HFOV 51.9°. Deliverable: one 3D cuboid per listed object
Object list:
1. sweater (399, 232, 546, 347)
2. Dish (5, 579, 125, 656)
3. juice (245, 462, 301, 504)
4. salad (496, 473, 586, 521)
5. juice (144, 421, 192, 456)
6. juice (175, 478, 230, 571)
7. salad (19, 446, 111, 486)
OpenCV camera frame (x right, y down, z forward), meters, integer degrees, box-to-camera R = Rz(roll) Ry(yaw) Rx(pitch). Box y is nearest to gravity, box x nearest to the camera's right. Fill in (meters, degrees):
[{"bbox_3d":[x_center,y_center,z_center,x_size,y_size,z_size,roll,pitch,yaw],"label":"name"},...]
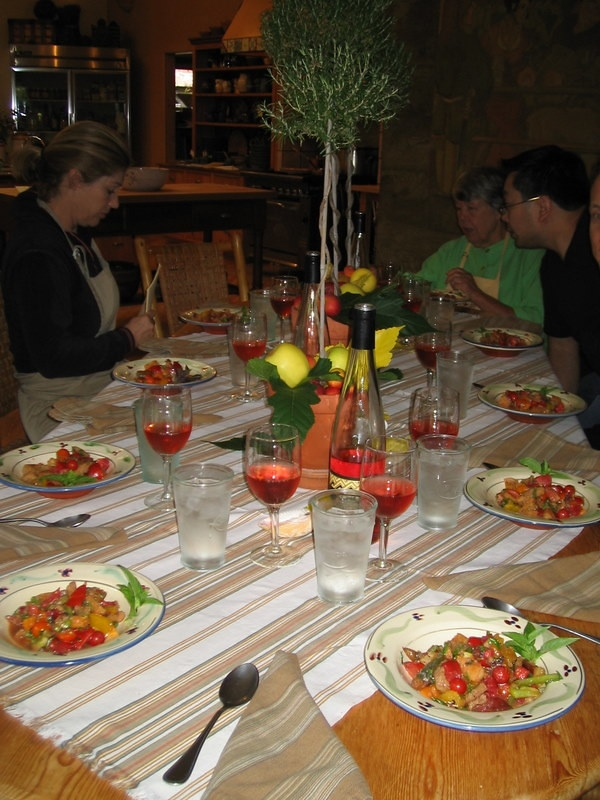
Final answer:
[{"bbox_3d":[0.947,-0.641,3.258,0.707,0.468,0.363,6,2,8],"label":"sweater"},{"bbox_3d":[-0.248,0.229,0.650,0.113,0.017,0.131,-7,15,-38],"label":"Dish"},{"bbox_3d":[-0.044,0.105,0.816,0.066,0.042,0.062,0,2,-1],"label":"juice"},{"bbox_3d":[0.391,0.164,1.004,0.093,0.031,0.085,-7,16,-8],"label":"salad"},{"bbox_3d":[-0.202,0.058,0.934,0.060,0.040,0.055,2,6,2],"label":"juice"},{"bbox_3d":[-0.125,0.158,0.782,0.083,0.112,0.076,8,32,0],"label":"juice"},{"bbox_3d":[-0.396,0.100,1.047,0.085,0.024,0.080,5,12,6],"label":"salad"}]
